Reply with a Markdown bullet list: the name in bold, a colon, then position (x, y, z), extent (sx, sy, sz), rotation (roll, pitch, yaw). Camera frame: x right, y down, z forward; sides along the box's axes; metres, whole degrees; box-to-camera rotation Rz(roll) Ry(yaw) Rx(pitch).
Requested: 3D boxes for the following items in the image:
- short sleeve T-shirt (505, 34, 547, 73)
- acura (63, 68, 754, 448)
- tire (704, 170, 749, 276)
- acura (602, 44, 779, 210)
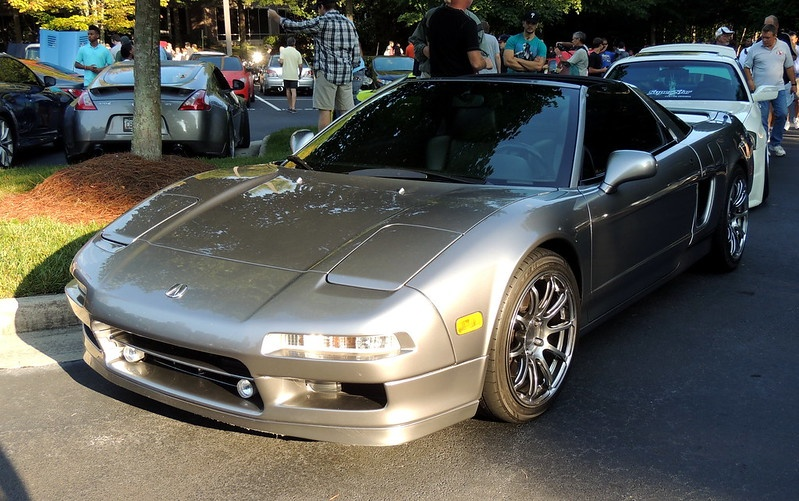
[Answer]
- **short sleeve T-shirt**: position (2.449, -3.992, 11.762), extent (0.786, 0.519, 0.744), rotation (3, 17, 7)
- **acura**: position (0.602, -0.148, 4.437), extent (2.454, 1.384, 4.485), rotation (12, 22, 40)
- **tire**: position (3.206, -0.275, 5.912), extent (0.254, 0.816, 0.792), rotation (12, 32, 39)
- **acura**: position (4.599, -2.051, 9.254), extent (2.118, 1.477, 3.190), rotation (2, 9, 28)
